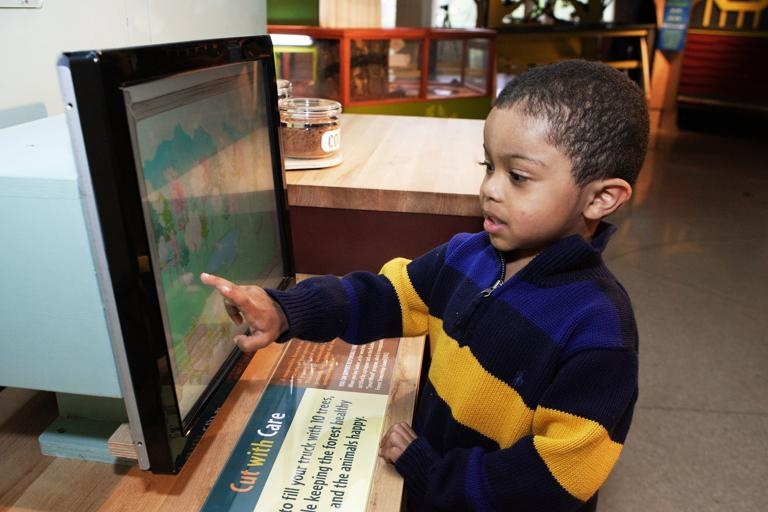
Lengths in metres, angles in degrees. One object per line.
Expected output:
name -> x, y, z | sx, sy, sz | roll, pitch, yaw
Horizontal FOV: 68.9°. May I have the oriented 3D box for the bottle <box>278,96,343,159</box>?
bottle -> -0.230, -0.397, 1.731 | 0.203, 0.147, 0.199 | 0, 15, 0
